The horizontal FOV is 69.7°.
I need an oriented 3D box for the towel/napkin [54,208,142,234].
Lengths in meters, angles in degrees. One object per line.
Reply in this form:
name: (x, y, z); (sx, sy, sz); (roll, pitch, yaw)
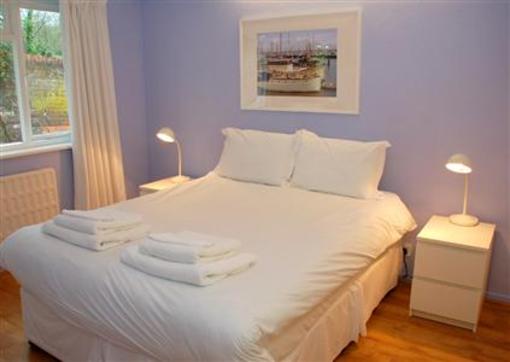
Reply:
towel/napkin: (-1.202, 0.259, 2.701); (0.458, 0.130, 0.460); (7, 8, 34)

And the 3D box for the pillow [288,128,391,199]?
pillow: (0.750, -0.166, 3.467); (0.876, 0.591, 0.312); (10, 10, 23)

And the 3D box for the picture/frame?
picture/frame: (0.485, -1.216, 3.622); (1.129, 0.835, 0.040); (4, 11, 27)

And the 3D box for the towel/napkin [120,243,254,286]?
towel/napkin: (-0.371, 0.504, 2.168); (0.329, 0.084, 0.340); (-3, 7, -44)

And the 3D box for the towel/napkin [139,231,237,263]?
towel/napkin: (-0.367, 0.395, 2.233); (0.282, 0.078, 0.277); (7, 8, 35)
